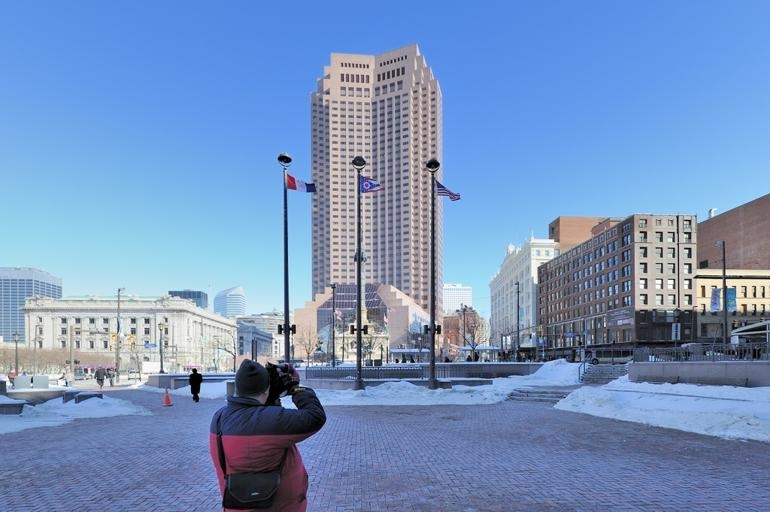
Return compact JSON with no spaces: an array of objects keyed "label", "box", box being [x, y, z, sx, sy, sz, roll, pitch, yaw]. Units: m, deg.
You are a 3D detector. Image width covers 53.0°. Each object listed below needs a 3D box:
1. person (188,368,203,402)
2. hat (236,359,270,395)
[{"label":"person","box":[-10.280,6.982,41.884,0.520,1.787,1.343,2,-11,-18]},{"label":"hat","box":[-3.595,3.266,21.041,0.967,0.913,0.845,-9,10,-43]}]
